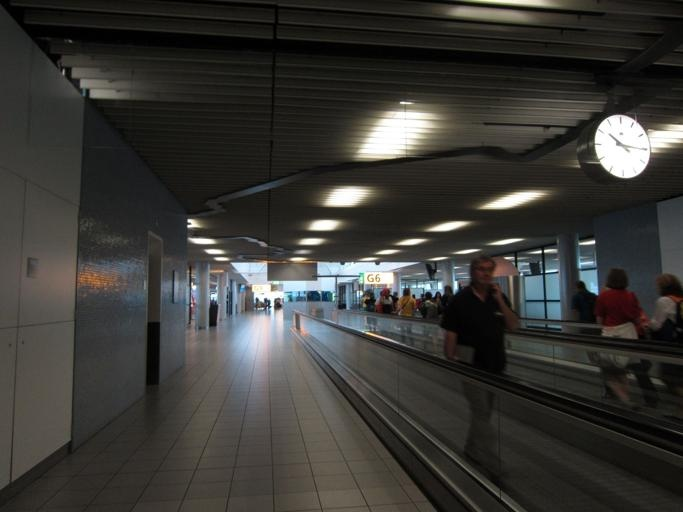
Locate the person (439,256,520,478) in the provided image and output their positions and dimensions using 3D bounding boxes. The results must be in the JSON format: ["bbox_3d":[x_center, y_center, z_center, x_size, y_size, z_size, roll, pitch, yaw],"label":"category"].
[{"bbox_3d":[0.965,0.715,3.255,0.532,1.565,0.680,-6,0,22],"label":"person"}]

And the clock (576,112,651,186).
[{"bbox_3d":[2.011,-0.782,3.476,0.525,0.513,0.263,1,-3,-14],"label":"clock"}]
